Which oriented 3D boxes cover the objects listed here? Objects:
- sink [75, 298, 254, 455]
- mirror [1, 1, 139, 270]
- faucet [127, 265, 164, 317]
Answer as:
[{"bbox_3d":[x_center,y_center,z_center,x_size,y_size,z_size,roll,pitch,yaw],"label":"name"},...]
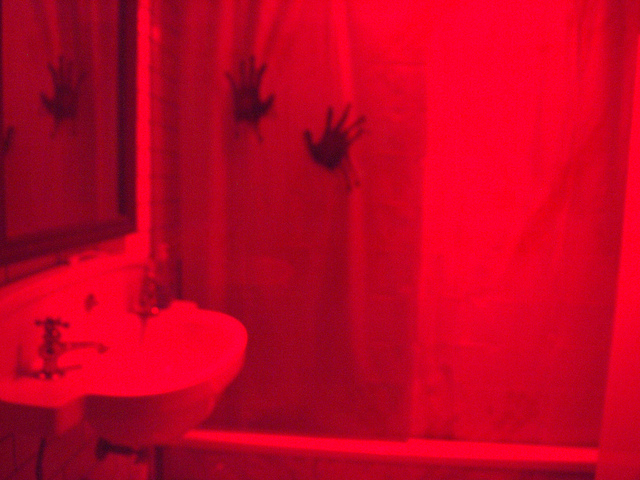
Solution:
[{"bbox_3d":[-0.486,0.495,2.170,0.482,0.202,0.553,2,33,0],"label":"sink"},{"bbox_3d":[-0.845,-0.353,2.185,0.047,1.023,0.892,1,2,21],"label":"mirror"},{"bbox_3d":[-0.637,0.189,2.421,0.072,0.164,0.124,1,8,3],"label":"faucet"}]
